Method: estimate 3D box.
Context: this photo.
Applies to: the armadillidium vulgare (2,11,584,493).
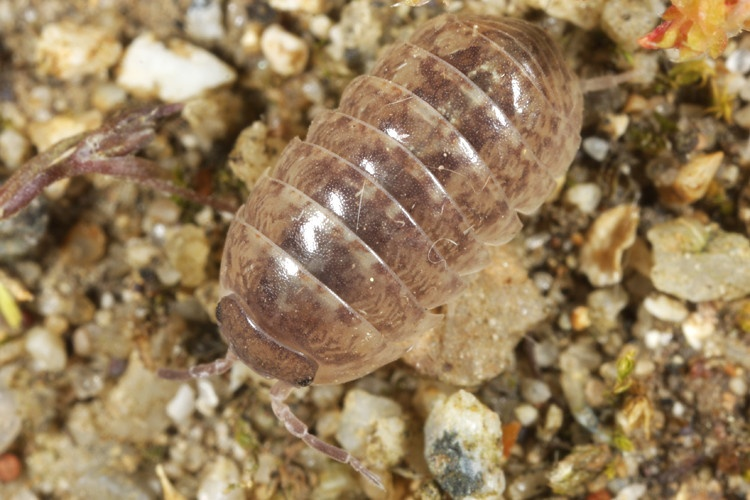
[{"bbox_3d":[0.110,-0.336,5.178,2.415,0.894,3.758,43,97,6],"label":"armadillidium vulgare"}]
